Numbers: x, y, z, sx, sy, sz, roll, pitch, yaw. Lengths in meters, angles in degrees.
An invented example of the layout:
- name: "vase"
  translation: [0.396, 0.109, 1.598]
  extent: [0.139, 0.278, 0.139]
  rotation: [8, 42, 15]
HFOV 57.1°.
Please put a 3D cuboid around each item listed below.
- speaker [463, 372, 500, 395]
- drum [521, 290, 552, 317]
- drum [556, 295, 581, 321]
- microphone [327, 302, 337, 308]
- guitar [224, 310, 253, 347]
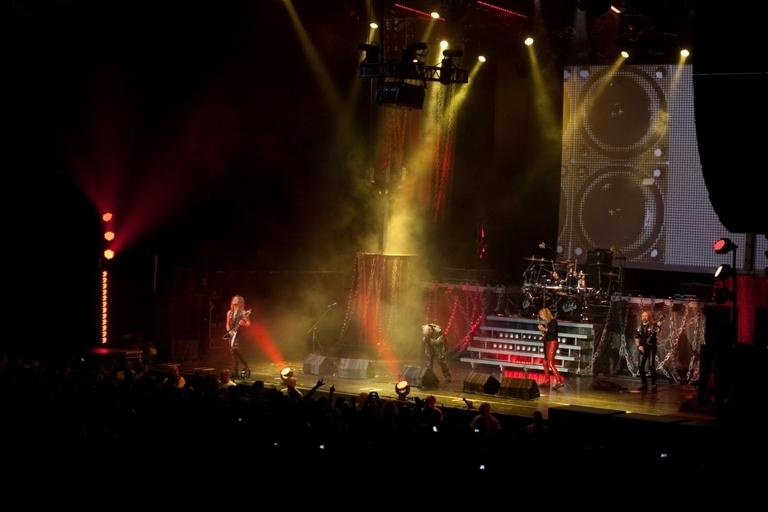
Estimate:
- name: "speaker"
  translation: [2.128, 2.937, 15.603]
  extent: [0.421, 0.407, 0.686]
  rotation: [10, -13, -35]
- name: "drum"
  translation: [4.101, 1.279, 19.039]
  extent: [0.641, 0.715, 0.608]
  rotation: [0, -5, -2]
- name: "drum"
  translation: [4.811, 1.371, 18.504]
  extent: [0.622, 0.750, 0.278]
  rotation: [0, 1, 25]
- name: "microphone"
  translation: [-1.534, 1.429, 20.564]
  extent: [0.090, 0.130, 0.460]
  rotation: [6, 7, 20]
- name: "guitar"
  translation: [-3.524, 1.784, 17.028]
  extent: [0.509, 0.870, 0.855]
  rotation: [-5, 23, -11]
